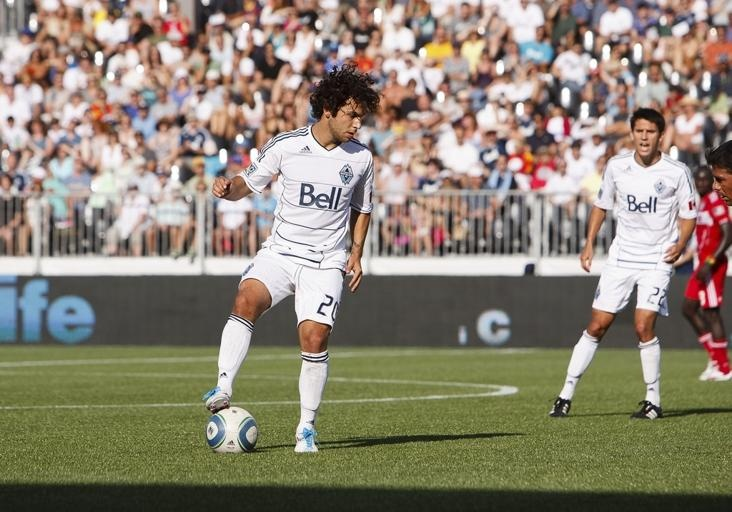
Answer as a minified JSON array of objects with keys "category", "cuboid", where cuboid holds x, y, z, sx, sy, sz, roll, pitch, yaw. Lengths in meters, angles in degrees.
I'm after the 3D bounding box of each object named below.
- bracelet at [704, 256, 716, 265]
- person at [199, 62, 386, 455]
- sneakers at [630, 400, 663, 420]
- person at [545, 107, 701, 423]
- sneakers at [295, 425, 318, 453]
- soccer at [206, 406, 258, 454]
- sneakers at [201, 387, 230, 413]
[{"category":"bracelet","cuboid":[4.590,0.055,18.687,0.117,0.116,0.037,-27,-15,22]},{"category":"person","cuboid":[-0.694,0.004,14.703,1.540,3.973,0.622,2,3,-3]},{"category":"sneakers","cuboid":[3.251,1.734,16.188,0.359,0.207,0.291,3,3,11]},{"category":"person","cuboid":[3.071,0.104,16.199,1.381,3.528,0.494,3,3,14]},{"category":"sneakers","cuboid":[-0.615,1.867,14.642,0.247,0.276,0.239,2,3,-3]},{"category":"soccer","cuboid":[-1.416,1.779,14.635,0.458,0.479,0.465,-2,-32,-16]},{"category":"sneakers","cuboid":[-1.549,1.471,14.602,0.163,0.175,0.348,-10,-3,-8]}]
